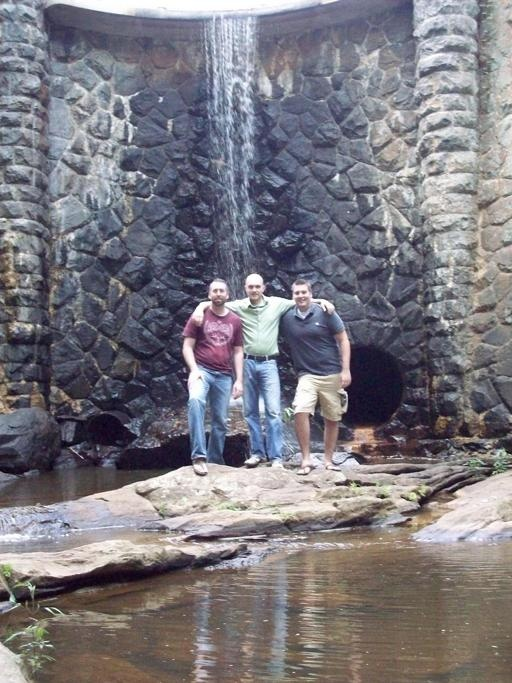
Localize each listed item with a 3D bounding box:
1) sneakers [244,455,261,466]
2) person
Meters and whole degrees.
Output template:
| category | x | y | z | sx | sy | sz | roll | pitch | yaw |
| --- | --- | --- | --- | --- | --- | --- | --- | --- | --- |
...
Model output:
| category | x | y | z | sx | sy | sz | roll | pitch | yaw |
| --- | --- | --- | --- | --- | --- | --- | --- | --- | --- |
| sneakers | -0.034 | 0.993 | 6.002 | 0.069 | 0.070 | 0.171 | 0 | -11 | 18 |
| person | -0.046 | 0.235 | 5.787 | 0.528 | 1.544 | 0.946 | -5 | -5 | 26 |
